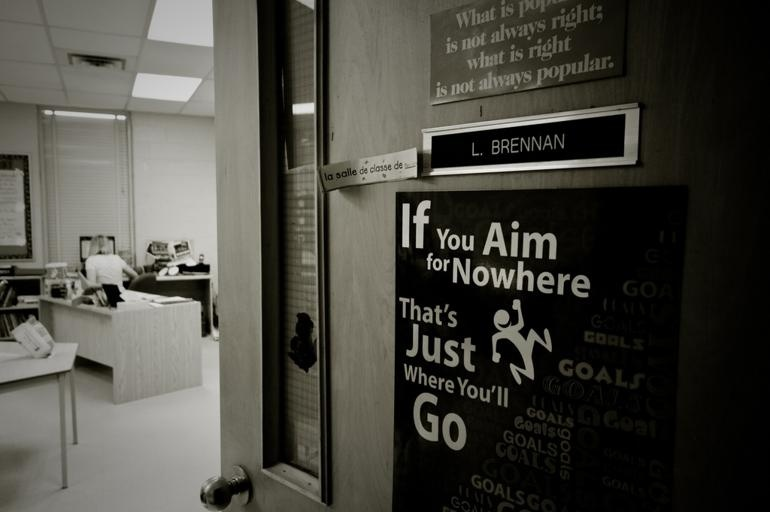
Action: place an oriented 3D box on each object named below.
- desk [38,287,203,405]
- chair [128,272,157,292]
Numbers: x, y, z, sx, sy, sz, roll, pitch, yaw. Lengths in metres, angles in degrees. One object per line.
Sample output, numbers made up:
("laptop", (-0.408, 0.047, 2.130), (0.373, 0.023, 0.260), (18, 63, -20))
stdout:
("desk", (-2.327, 0.733, 5.478), (1.342, 0.774, 0.820), (8, 11, 41))
("chair", (-2.740, 0.311, 6.822), (0.201, 0.265, 0.273), (6, 5, -16))
